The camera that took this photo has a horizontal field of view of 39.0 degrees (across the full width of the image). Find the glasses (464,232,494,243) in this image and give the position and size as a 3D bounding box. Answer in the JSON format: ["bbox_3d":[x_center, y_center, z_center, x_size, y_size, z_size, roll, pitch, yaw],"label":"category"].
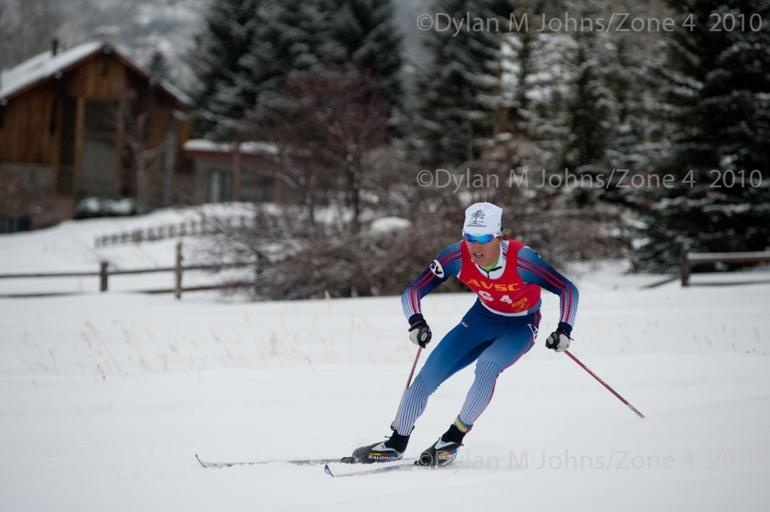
[{"bbox_3d":[1.410,-0.285,16.207,0.445,0.165,0.115,-1,2,4],"label":"glasses"}]

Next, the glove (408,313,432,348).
[{"bbox_3d":[0.541,1.097,16.327,0.215,0.470,0.355,-31,-24,29],"label":"glove"}]

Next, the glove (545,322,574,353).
[{"bbox_3d":[2.600,1.199,16.224,0.481,0.295,0.208,-49,0,-26],"label":"glove"}]
